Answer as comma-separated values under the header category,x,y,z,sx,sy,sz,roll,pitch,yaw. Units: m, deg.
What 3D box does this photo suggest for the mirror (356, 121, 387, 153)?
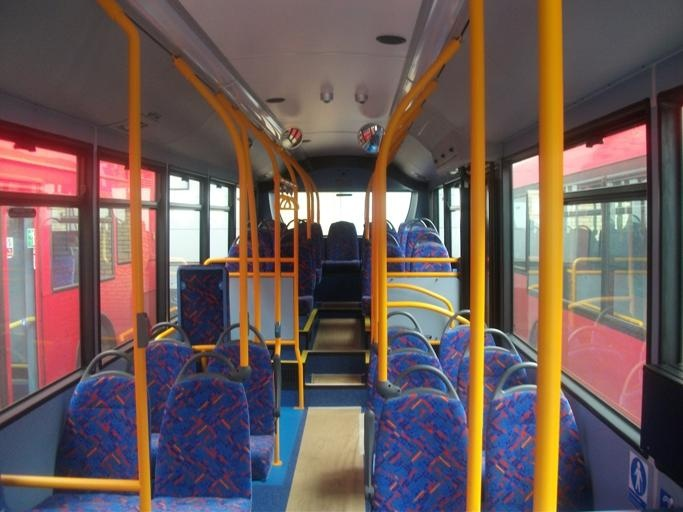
category,x,y,z,sx,sy,sz,roll,pitch,yaw
mirror,0.350,-1.469,6.469,0.266,0.354,0.374,0,2,-2
